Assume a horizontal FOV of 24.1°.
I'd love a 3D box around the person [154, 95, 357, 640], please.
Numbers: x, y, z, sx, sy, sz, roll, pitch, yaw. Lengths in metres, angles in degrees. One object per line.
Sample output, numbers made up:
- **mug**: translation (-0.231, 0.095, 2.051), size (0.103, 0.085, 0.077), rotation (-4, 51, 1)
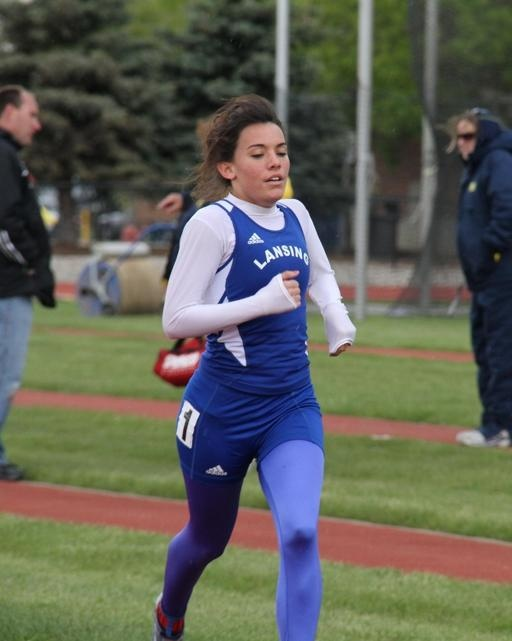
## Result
- **person**: translation (-0.006, 0.226, 4.055), size (0.726, 1.960, 0.605), rotation (5, 9, 25)
